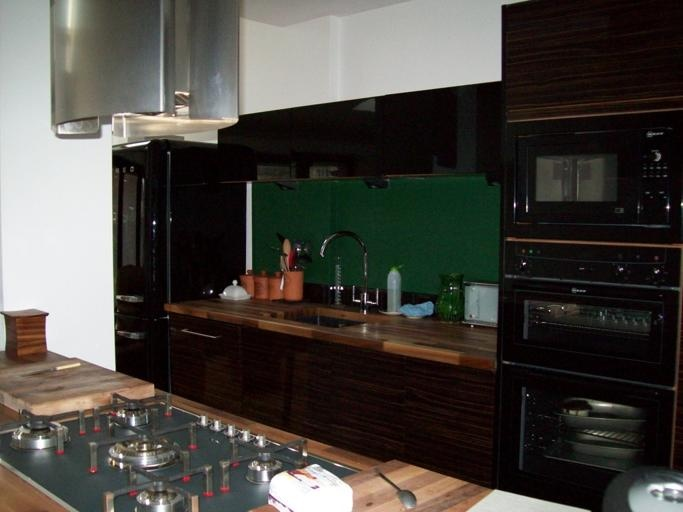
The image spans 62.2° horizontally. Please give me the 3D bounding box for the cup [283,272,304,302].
[{"bbox_3d":[-0.367,0.228,4.375,0.164,0.234,0.115,-1,5,-16],"label":"cup"}]

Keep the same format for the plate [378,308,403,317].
[{"bbox_3d":[0.318,0.380,3.827,0.172,0.034,0.075,3,6,33],"label":"plate"}]

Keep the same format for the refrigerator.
[{"bbox_3d":[-1.271,0.063,4.414,1.005,1.891,0.635,-1,5,-12],"label":"refrigerator"}]

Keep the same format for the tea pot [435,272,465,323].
[{"bbox_3d":[0.715,0.259,3.585,0.215,0.297,0.137,-3,6,-34],"label":"tea pot"}]
